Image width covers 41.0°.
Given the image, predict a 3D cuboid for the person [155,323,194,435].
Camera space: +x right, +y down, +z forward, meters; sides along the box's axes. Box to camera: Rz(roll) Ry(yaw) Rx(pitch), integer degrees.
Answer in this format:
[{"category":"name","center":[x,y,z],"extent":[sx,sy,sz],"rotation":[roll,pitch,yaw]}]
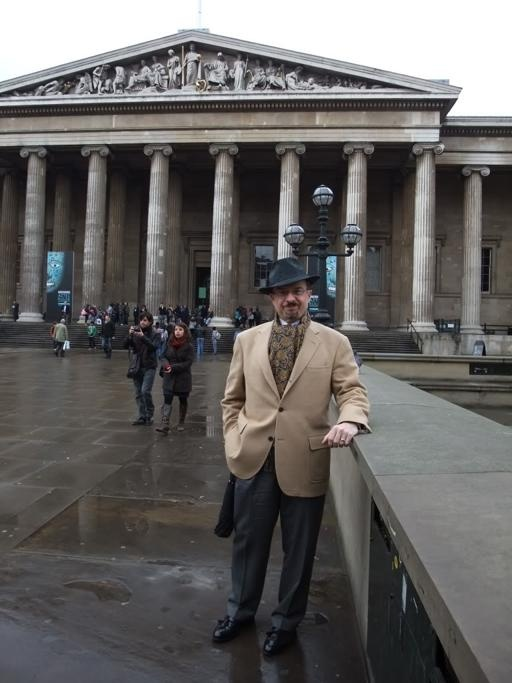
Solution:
[{"category":"person","center":[-1.100,0.468,9.256],"extent":[0.429,1.431,1.059],"rotation":[1,1,-6]}]

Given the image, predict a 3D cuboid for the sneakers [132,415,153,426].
[{"category":"sneakers","center":[-1.596,1.113,9.627],"extent":[0.107,0.148,0.325],"rotation":[-4,-12,36]}]

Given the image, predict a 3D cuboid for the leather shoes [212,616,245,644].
[{"category":"leather shoes","center":[-0.129,1.320,3.122],"extent":[0.063,0.079,0.179],"rotation":[-7,-14,21]}]

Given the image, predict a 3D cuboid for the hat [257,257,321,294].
[{"category":"hat","center":[0.145,-0.311,3.201],"extent":[0.181,0.091,0.222],"rotation":[-20,0,5]}]

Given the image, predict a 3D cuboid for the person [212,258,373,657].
[{"category":"person","center":[0.151,0.485,3.107],"extent":[0.707,1.752,0.406],"rotation":[1,1,9]}]

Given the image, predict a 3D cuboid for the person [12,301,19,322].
[{"category":"person","center":[-12.565,-1.589,35.553],"extent":[0.326,1.004,1.776],"rotation":[1,2,-18]}]

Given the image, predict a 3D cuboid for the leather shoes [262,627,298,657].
[{"category":"leather shoes","center":[0.106,1.325,3.000],"extent":[0.064,0.086,0.189],"rotation":[-6,-19,28]}]
